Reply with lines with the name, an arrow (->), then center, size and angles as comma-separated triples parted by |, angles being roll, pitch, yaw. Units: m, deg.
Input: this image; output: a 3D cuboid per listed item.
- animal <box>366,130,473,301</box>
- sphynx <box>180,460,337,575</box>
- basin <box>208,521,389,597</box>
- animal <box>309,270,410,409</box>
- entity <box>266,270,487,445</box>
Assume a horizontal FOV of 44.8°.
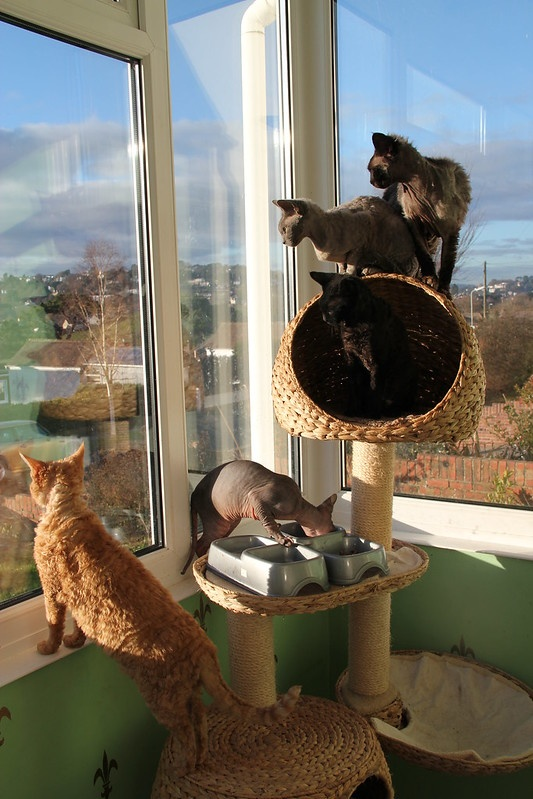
animal -> 0.299, -0.355, 1.278 | 0.201, 0.292, 0.208 | 4, 1, 9
sphynx -> -0.012, 0.256, 1.469 | 0.391, 0.212, 0.122 | -5, -7, 11
basin -> 0.073, 0.325, 1.304 | 0.217, 0.055, 0.209 | 1, 1, 0
animal -> 0.199, -0.094, 1.276 | 0.112, 0.258, 0.277 | 5, 2, 29
entity -> 0.266, -0.109, 1.583 | 0.418, 0.180, 0.476 | -8, -22, -20
